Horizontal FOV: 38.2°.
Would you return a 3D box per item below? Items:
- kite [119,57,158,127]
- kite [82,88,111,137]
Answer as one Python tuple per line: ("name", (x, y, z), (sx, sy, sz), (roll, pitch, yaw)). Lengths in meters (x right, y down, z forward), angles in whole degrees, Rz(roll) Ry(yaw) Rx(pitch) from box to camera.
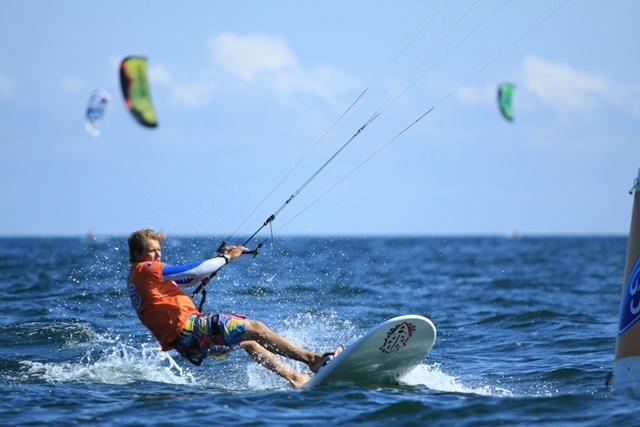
("kite", (-3.167, -2.082, 16.027), (0.680, 1.144, 0.357), (3, -11, 6))
("kite", (-3.886, -1.766, 16.224), (0.441, 0.857, 0.336), (13, 13, 22))
